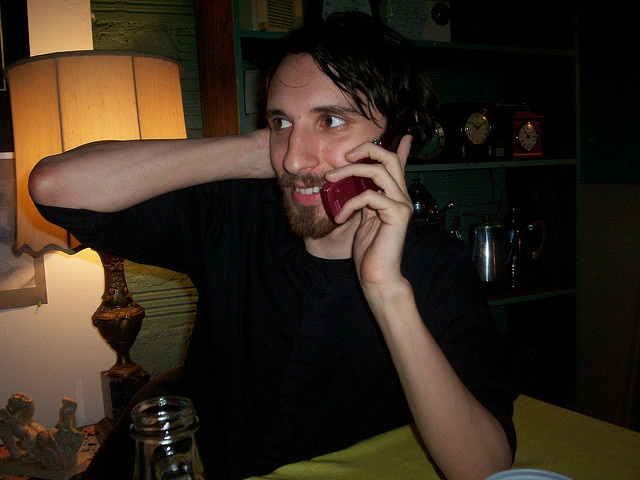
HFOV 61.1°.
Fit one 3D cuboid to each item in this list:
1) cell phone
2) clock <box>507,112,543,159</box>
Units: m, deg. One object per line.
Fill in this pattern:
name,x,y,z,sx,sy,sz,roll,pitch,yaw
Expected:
cell phone,0.113,-0.181,1.898,0.306,0.177,0.071,-34,18,-4
clock,1.246,-0.611,3.262,0.218,0.284,0.199,1,1,33
